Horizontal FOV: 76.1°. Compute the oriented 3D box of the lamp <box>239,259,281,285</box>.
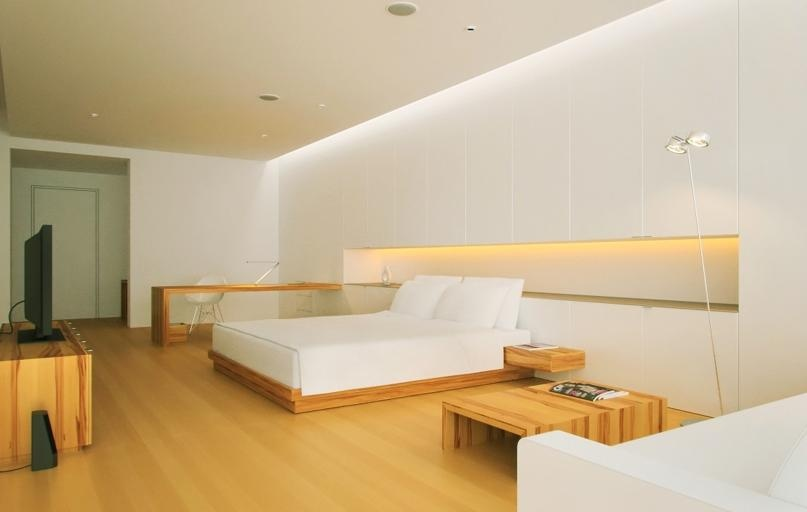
[{"bbox_3d":[-2.607,0.286,9.594,0.643,0.448,0.311,-1,6,-12],"label":"lamp"}]

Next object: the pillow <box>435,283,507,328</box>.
[{"bbox_3d":[0.743,0.522,5.564,0.603,0.479,0.164,7,-27,45],"label":"pillow"}]

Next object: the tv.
[{"bbox_3d":[-2.938,0.220,4.146,0.356,0.850,1.008,0,1,-39],"label":"tv"}]

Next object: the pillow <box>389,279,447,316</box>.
[{"bbox_3d":[0.178,0.501,6.096,0.144,0.447,0.535,37,-17,-33],"label":"pillow"}]

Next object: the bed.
[{"bbox_3d":[-0.363,0.995,5.178,3.013,0.543,1.477,-1,5,-10],"label":"bed"}]

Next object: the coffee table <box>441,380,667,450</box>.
[{"bbox_3d":[1.152,1.089,3.563,1.088,0.299,0.742,1,-2,-28],"label":"coffee table"}]

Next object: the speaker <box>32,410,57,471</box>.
[{"bbox_3d":[-2.474,1.256,3.540,0.144,0.366,0.215,-5,7,-35],"label":"speaker"}]

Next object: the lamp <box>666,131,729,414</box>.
[{"bbox_3d":[2.438,0.116,4.316,0.506,2.292,1.036,3,7,26],"label":"lamp"}]

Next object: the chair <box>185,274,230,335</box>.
[{"bbox_3d":[-3.177,0.820,8.595,0.611,0.720,0.589,7,-1,34],"label":"chair"}]
